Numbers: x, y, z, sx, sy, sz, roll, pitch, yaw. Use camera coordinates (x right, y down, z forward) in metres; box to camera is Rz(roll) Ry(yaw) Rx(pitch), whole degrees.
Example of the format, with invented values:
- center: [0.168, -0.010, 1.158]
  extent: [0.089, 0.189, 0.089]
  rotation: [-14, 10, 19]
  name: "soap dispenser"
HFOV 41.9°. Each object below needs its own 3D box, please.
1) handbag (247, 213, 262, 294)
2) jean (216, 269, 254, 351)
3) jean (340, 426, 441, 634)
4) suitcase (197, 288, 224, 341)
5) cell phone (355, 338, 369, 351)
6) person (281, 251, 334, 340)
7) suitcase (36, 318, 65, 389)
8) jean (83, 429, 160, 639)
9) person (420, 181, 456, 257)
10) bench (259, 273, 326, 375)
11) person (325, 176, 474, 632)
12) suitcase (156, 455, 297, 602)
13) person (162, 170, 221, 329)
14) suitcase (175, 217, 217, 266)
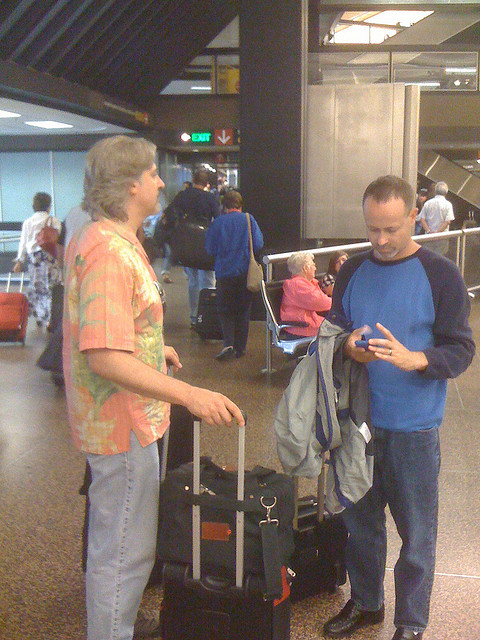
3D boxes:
- center: [0.134, -0.669, 6.427]
  extent: [0.136, 0.805, 0.448]
  rotation: [-1, 9, 0]
  name: "handbag"
- center: [-0.069, -0.103, 6.621]
  extent: [0.389, 0.856, 0.274]
  rotation: [-1, 9, 3]
  name: "jean"
- center: [0.483, 0.664, 2.060]
  extent: [0.144, 0.705, 0.329]
  rotation: [-8, 11, -38]
  name: "jean"
- center: [-0.342, -0.117, 7.284]
  extent: [0.322, 0.641, 0.315]
  rotation: [0, 10, -15]
  name: "suitcase"
- center: [0.349, 0.062, 1.802]
  extent: [0.038, 0.035, 0.159]
  rotation: [0, 11, 10]
  name: "cell phone"
- center: [0.575, -0.212, 5.569]
  extent: [0.535, 0.948, 0.588]
  rotation: [3, 0, -16]
  name: "person"
- center: [-1.607, 0.222, 5.385]
  extent: [0.257, 0.475, 0.213]
  rotation: [11, 20, -18]
  name: "suitcase"
- center: [-0.308, 0.559, 1.636]
  extent: [0.199, 0.594, 0.099]
  rotation: [-4, 9, -14]
  name: "jean"
- center: [3.596, -1.644, 11.576]
  extent: [0.559, 1.946, 0.489]
  rotation: [9, 36, 19]
  name: "person"
- center: [0.451, 0.174, 5.589]
  extent: [0.622, 0.962, 0.651]
  rotation: [-2, -4, 28]
  name: "bench"
- center: [0.492, 0.331, 1.957]
  extent: [0.420, 1.527, 0.471]
  rotation: [-3, 9, -9]
  name: "person"
- center: [-0.051, 0.540, 1.750]
  extent: [0.355, 0.373, 0.285]
  rotation: [9, 6, 23]
  name: "suitcase"
- center: [-0.578, -0.889, 7.973]
  extent: [0.521, 2.012, 0.544]
  rotation: [1, 4, 2]
  name: "person"
- center: [-0.519, -0.960, 7.537]
  extent: [0.433, 0.820, 0.379]
  rotation: [1, 18, 20]
  name: "suitcase"
